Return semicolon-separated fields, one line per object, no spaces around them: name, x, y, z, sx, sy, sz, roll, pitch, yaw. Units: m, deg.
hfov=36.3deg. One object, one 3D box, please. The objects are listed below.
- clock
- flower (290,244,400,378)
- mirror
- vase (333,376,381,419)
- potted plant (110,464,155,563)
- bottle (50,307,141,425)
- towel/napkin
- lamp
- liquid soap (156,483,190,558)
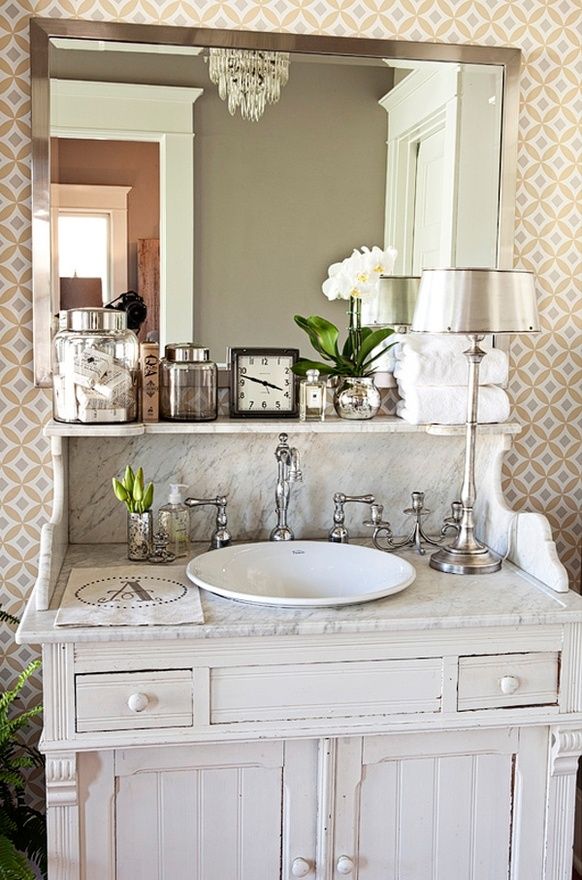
clock;-0.060;-0.120;1.888;0.166;0.157;0.058;0;3;-8
flower;0.127;-0.268;1.983;0.287;0.280;0.234;0;-2;-39
mirror;-0.036;-0.541;2.124;1.201;0.825;0.015;-9;39;-27
vase;0.137;-0.093;1.933;0.094;0.075;0.092;-2;5;-17
potted plant;-0.333;0.153;1.857;0.078;0.201;0.057;-1;14;-11
bottle;-0.388;-0.143;1.739;0.163;0.221;0.120;-2;14;-14
towel/napkin;0.342;-0.123;1.985;0.248;0.154;0.196;0;4;-9
lamp;-0.097;-0.766;1.941;0.125;0.129;0.121;-16;42;-17
liquid soap;-0.261;0.162;1.947;0.067;0.162;0.167;0;13;-6
